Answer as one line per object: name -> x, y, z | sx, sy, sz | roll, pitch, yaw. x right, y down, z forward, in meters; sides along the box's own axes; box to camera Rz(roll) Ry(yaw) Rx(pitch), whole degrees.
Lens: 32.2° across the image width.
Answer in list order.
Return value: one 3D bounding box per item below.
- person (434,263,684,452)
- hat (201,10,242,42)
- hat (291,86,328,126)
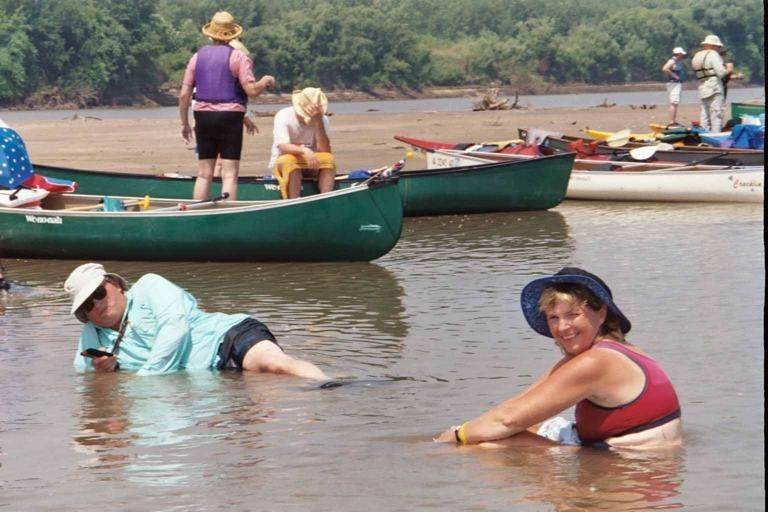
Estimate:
person -> 1.581, 0.893, 11.224 | 1.640, 1.614, 0.539 | 3, 19, 20
hat -> -2.103, -2.914, 16.838 | 0.593, 0.191, 0.512 | -12, 35, -16
hat -> -0.956, -1.897, 16.784 | 0.429, 0.454, 0.483 | -4, 15, -3
